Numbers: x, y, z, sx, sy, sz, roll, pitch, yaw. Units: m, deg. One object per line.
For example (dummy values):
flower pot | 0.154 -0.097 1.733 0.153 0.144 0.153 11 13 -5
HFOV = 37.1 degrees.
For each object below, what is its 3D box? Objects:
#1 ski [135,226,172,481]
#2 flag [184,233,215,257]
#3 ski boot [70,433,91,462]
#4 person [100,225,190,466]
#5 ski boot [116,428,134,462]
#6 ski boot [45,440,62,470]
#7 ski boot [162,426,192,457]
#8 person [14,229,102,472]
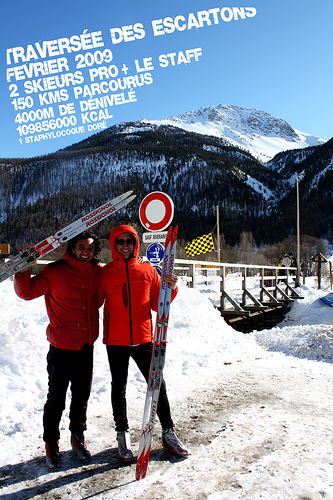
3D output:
ski | -0.141 1.056 4.640 0.156 3.186 0.147 -10 28 -28
flag | 0.903 -0.144 13.632 0.609 0.611 1.222 1 2 -15
ski boot | -0.792 1.788 4.505 0.095 0.156 0.323 -3 30 -26
person | -0.241 0.833 4.616 0.791 2.124 1.005 1 1 -4
ski boot | -0.376 1.766 4.481 0.155 0.244 0.187 1 2 -8
ski boot | -0.987 1.799 4.343 0.084 0.133 0.302 -2 39 -16
ski boot | 0.087 1.749 4.539 0.276 0.242 0.198 2 2 2
person | -0.958 0.861 4.483 0.705 2.090 0.450 1 1 -12
